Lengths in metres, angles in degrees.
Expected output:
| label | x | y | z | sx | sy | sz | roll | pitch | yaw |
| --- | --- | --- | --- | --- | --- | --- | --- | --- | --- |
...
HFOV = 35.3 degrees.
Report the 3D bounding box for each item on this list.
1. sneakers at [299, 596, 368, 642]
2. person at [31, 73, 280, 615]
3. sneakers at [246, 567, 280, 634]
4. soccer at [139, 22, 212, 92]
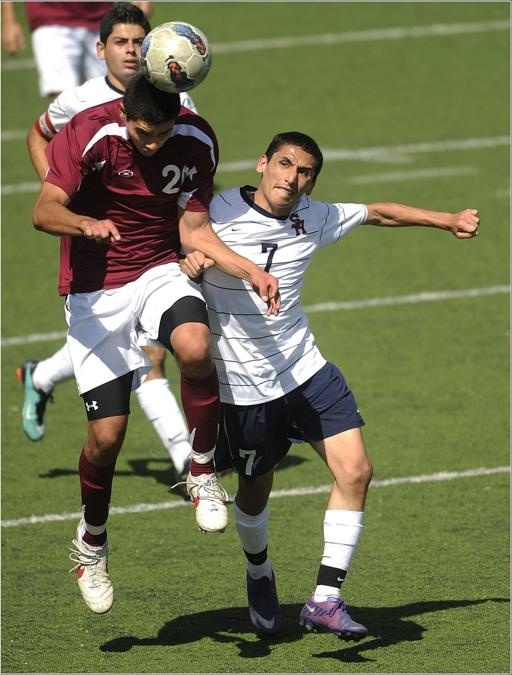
| label | x | y | z | sx | sy | sz | roll | pitch | yaw |
| --- | --- | --- | --- | --- | --- | --- | --- | --- | --- |
| sneakers | 0.253 | 0.967 | 2.828 | 0.313 | 0.119 | 0.111 | 5 | -6 | 38 |
| person | -0.394 | -0.071 | 2.866 | 0.690 | 1.655 | 0.688 | -6 | 15 | -12 |
| sneakers | 0.026 | 1.040 | 3.196 | 0.101 | 0.104 | 0.251 | -7 | 41 | -2 |
| soccer | -0.262 | -0.918 | 2.639 | 0.238 | 0.233 | 0.207 | -7 | 14 | -20 |
